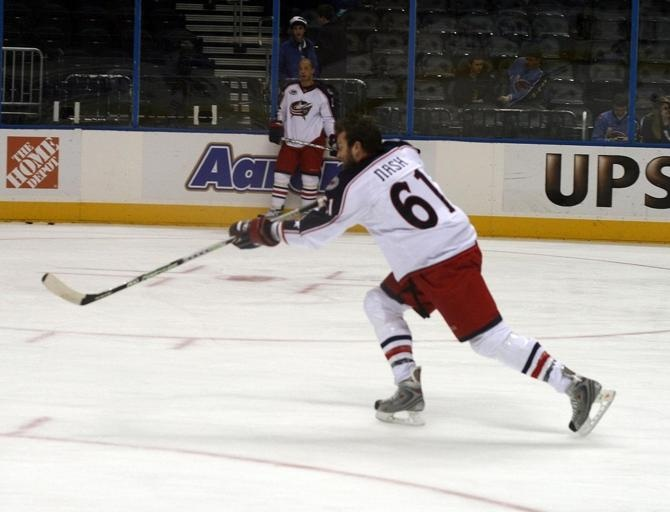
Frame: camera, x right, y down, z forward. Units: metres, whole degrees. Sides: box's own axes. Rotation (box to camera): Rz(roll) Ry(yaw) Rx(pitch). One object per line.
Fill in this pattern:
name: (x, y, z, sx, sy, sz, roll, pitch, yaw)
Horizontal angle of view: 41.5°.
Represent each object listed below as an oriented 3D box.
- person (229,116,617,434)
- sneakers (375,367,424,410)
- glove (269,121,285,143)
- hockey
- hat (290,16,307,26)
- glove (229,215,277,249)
person: (0.608, 0.143, 4.083, 2.032, 1.256, 1.155, 9, -5, 43)
sneakers: (0.290, 0.596, 3.833, 0.104, 0.175, 0.300, 6, -17, -44)
glove: (-0.690, -1.444, 10.395, 0.246, 0.227, 0.082, 9, -11, -7)
hockey: (-1.232, -0.022, 7.237, 3.018, 0.319, 0.288, -15, 10, 13)
hat: (-0.436, -2.753, 10.380, 0.218, 0.074, 0.124, 4, 9, -4)
glove: (-0.339, -0.117, 4.147, 0.152, 0.142, 0.421, -4, 7, -34)
